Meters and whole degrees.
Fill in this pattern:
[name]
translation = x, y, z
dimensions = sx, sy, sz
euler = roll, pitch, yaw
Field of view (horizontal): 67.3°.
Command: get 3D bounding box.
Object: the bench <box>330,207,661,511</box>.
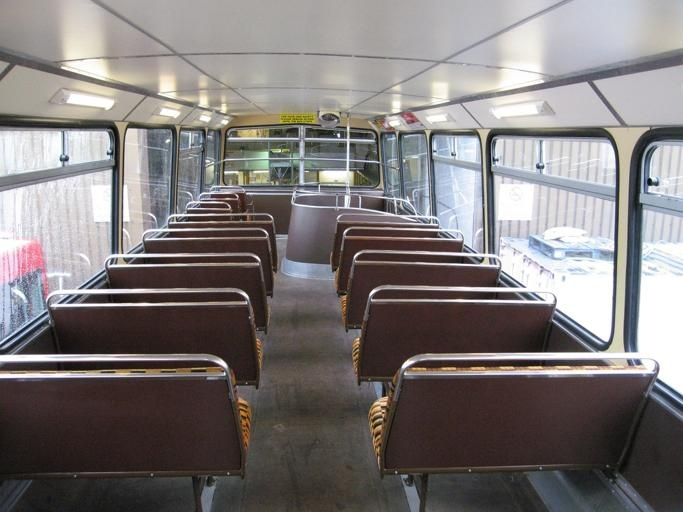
[bench]
translation = 0.992, 0.647, 4.266
dimensions = 1.787, 1.255, 1.894
euler = 1, 12, -8
